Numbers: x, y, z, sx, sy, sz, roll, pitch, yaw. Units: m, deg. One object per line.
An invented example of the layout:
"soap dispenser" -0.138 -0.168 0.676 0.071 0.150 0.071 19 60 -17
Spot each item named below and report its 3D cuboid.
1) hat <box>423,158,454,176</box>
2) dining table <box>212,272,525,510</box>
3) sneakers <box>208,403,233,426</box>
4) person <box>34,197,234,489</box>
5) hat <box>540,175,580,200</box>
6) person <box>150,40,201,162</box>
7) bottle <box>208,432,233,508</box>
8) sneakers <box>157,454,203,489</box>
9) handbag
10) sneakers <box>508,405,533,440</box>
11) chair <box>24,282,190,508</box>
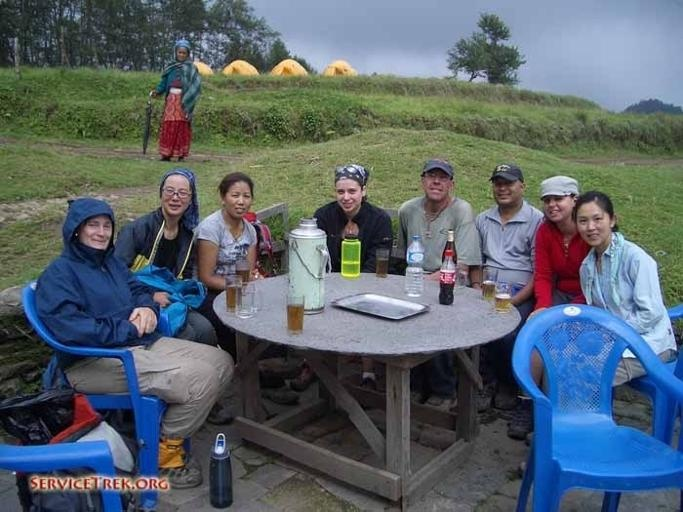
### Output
"hat" 0.873 -0.792 4.821 0.268 0.162 0.185 -1 10 -4
"dining table" 0.251 0.727 3.594 1.670 0.878 1.527 11 19 39
"sneakers" -0.960 1.267 4.195 0.097 0.132 0.302 -4 -11 -27
"person" -1.381 0.548 3.646 1.140 1.871 0.876 -1 5 -2
"hat" 1.779 -0.559 4.361 0.281 0.132 0.206 0 0 -29
"person" -3.379 -3.166 11.010 0.903 2.358 0.737 -2 10 -9
"bottle" -0.754 1.299 3.270 0.147 0.477 0.142 0 10 0
"sneakers" -1.080 1.427 3.511 0.316 0.148 0.117 -2 2 23
"handbag" -1.372 0.411 4.126 0.523 0.229 0.526 15 20 -22
"sneakers" 1.386 1.257 4.160 0.191 0.067 0.383 -9 22 33
"chair" -1.733 0.866 3.990 1.194 1.671 1.209 1 1 1
